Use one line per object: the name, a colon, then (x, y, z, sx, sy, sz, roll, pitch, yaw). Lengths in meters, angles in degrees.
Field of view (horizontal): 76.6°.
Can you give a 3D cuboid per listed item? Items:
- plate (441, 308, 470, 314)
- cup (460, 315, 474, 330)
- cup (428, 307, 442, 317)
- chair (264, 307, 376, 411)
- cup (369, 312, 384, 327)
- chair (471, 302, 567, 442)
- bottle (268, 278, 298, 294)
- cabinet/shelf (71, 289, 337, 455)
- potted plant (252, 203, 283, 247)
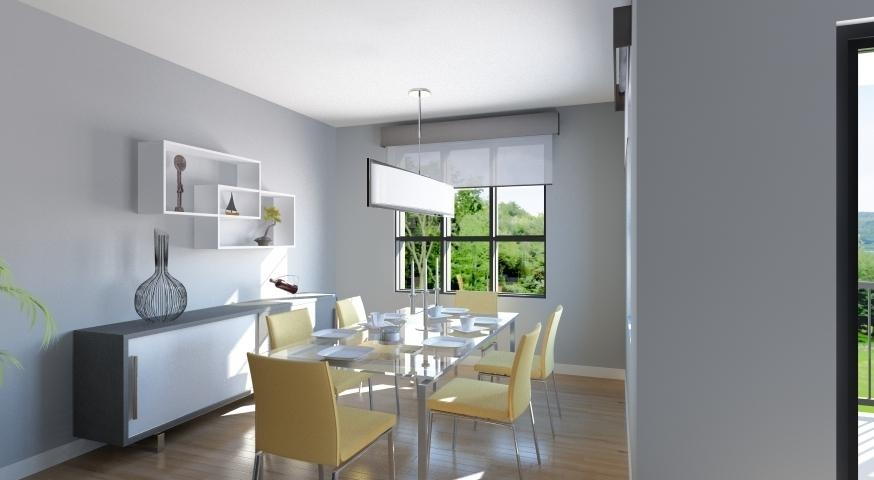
plate: (0.181, 0.728, 5.588, 0.169, 0.027, 0.120, 1, 1, -14)
cup: (0.260, 0.731, 4.804, 0.120, 0.088, 0.095, -7, -10, 30)
cup: (-0.017, 0.698, 5.361, 0.115, 0.071, 0.090, -3, -8, 11)
chair: (-1.019, 1.049, 5.257, 0.887, 1.374, 0.841, -1, -1, 26)
cup: (-0.542, 0.737, 5.054, 0.132, 0.106, 0.113, -1, -2, 2)
chair: (0.801, 1.197, 5.327, 0.749, 1.104, 0.679, 2, 1, 14)
bottle: (-1.779, 0.495, 6.402, 0.286, 0.157, 0.271, 12, 19, -4)
cabinet/shelf: (-2.193, 1.175, 5.816, 0.597, 0.923, 2.915, 3, 3, 21)
potted plant: (-1.918, -0.184, 6.255, 0.244, 0.460, 0.288, 16, 1, 18)
